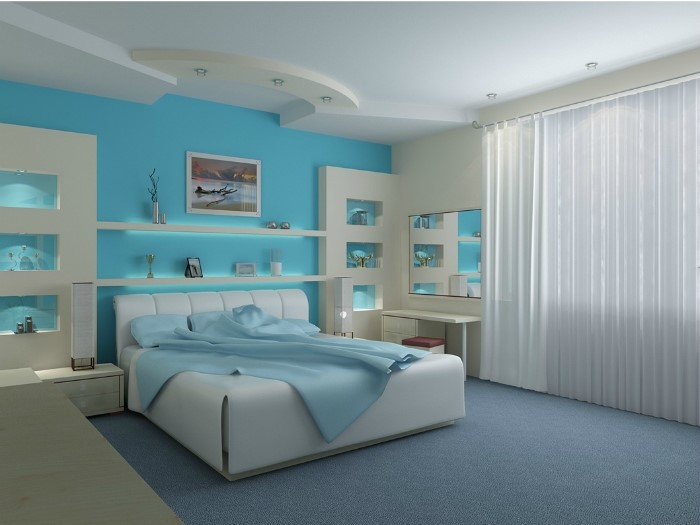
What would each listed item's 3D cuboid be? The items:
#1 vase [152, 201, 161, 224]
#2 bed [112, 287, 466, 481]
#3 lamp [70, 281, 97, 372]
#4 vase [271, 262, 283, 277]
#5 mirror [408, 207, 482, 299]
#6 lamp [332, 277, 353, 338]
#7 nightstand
[{"bbox_3d":[-2.198,-0.559,5.560,0.098,0.267,0.196,-1,4,-22],"label":"vase"},{"bbox_3d":[-1.107,1.145,4.496,1.821,0.868,2.218,0,-1,-36],"label":"bed"},{"bbox_3d":[-2.666,0.624,4.905,0.221,0.843,0.257,-2,5,-30],"label":"lamp"},{"bbox_3d":[-0.957,0.085,6.339,0.124,0.184,0.079,0,4,-10],"label":"vase"},{"bbox_3d":[1.345,-0.103,6.790,1.604,1.148,0.168,0,3,-37],"label":"mirror"},{"bbox_3d":[-0.079,0.627,6.443,0.284,0.824,0.278,1,0,6],"label":"lamp"},{"bbox_3d":[-2.555,1.249,4.728,0.671,0.411,0.303,-1,4,-22],"label":"nightstand"}]
